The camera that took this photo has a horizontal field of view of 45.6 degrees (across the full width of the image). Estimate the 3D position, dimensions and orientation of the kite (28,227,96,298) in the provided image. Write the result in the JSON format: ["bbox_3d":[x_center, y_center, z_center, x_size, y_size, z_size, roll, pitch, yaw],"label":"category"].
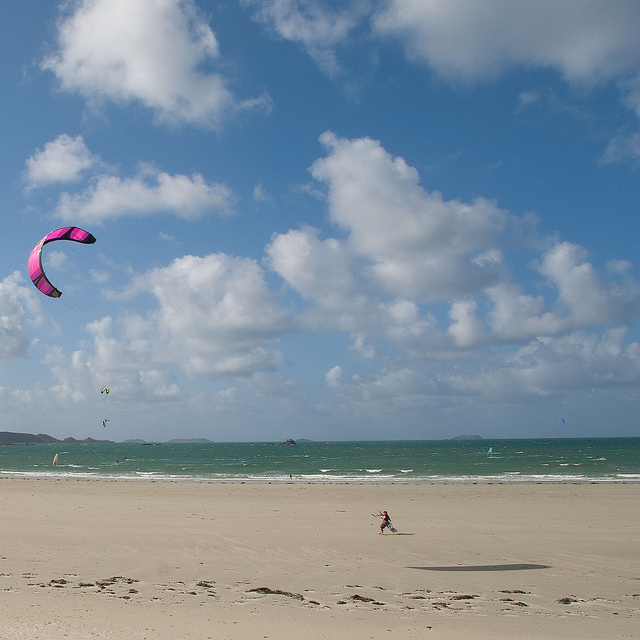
[{"bbox_3d":[-9.418,-2.087,26.818,2.526,2.448,1.010,-2,-32,23],"label":"kite"}]

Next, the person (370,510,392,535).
[{"bbox_3d":[2.483,7.937,29.855,0.454,0.885,1.135,-2,-11,2],"label":"person"}]
